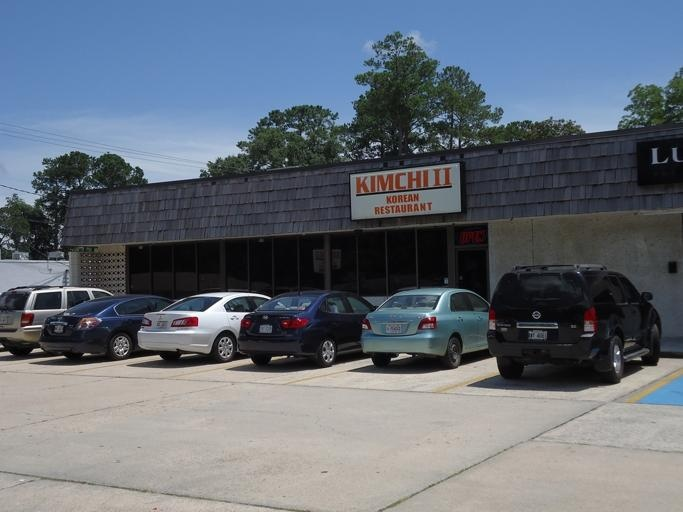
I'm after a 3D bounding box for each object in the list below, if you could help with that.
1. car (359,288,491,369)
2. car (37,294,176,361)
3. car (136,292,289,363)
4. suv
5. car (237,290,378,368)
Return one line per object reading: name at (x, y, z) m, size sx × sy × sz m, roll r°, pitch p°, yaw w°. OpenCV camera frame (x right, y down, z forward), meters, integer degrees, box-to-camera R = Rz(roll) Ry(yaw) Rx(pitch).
car at (1.966, 1.604, 13.673) m, size 2.686 × 1.379 × 1.433 m, roll -1°, pitch -2°, yaw -38°
car at (-6.364, 1.920, 16.874) m, size 1.527 × 1.021 × 3.240 m, roll -1°, pitch 0°, yaw 31°
car at (-3.279, 1.771, 15.861) m, size 1.507 × 0.987 × 3.167 m, roll -2°, pitch 0°, yaw 34°
suv at (4.686, 1.139, 12.116) m, size 1.878 × 1.497 × 3.499 m, roll -2°, pitch 1°, yaw 37°
car at (-0.823, 1.731, 14.553) m, size 2.816 × 1.192 × 1.368 m, roll -1°, pitch -2°, yaw -38°
